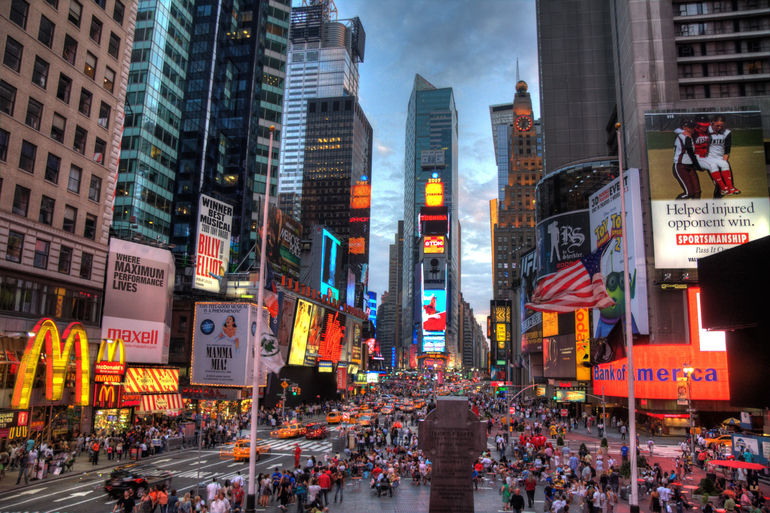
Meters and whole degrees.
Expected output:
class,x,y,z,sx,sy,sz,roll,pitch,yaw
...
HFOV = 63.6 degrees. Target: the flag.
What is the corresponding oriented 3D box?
class,x,y,z,sx,sy,sz,roll,pitch,yaw
flag,14.701,2.355,49.623,5.471,3.875,1.584,-11,-16,24
